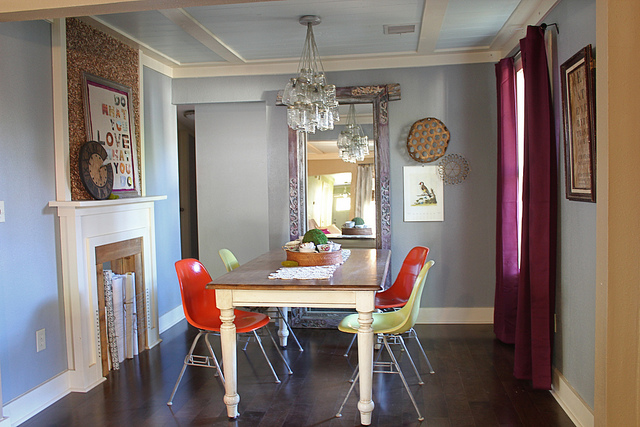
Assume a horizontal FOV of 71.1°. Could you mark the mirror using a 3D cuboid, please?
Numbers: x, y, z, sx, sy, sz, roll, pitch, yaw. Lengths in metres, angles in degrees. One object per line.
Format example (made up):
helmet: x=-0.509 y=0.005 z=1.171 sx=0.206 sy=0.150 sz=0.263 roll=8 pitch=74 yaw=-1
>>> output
mirror: x=0.227 y=-0.345 z=5.276 sx=1.680 sy=3.080 sz=0.301 roll=-3 pitch=-36 yaw=10

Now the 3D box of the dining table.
dining table: x=-0.122 y=1.032 z=4.140 sx=1.452 sy=1.113 sz=1.343 roll=0 pitch=10 yaw=8

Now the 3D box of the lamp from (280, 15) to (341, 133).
lamp: x=-0.077 y=-1.333 z=4.256 sx=0.530 sy=0.982 sz=0.522 roll=-2 pitch=7 yaw=-1

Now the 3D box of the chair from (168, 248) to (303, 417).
chair: x=-0.862 y=1.032 z=4.668 sx=1.247 sy=1.655 sz=1.199 roll=-3 pitch=-2 yaw=18

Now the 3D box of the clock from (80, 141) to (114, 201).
clock: x=-2.194 y=-0.422 z=4.417 sx=0.108 sy=0.571 sz=0.419 roll=1 pitch=11 yaw=11
